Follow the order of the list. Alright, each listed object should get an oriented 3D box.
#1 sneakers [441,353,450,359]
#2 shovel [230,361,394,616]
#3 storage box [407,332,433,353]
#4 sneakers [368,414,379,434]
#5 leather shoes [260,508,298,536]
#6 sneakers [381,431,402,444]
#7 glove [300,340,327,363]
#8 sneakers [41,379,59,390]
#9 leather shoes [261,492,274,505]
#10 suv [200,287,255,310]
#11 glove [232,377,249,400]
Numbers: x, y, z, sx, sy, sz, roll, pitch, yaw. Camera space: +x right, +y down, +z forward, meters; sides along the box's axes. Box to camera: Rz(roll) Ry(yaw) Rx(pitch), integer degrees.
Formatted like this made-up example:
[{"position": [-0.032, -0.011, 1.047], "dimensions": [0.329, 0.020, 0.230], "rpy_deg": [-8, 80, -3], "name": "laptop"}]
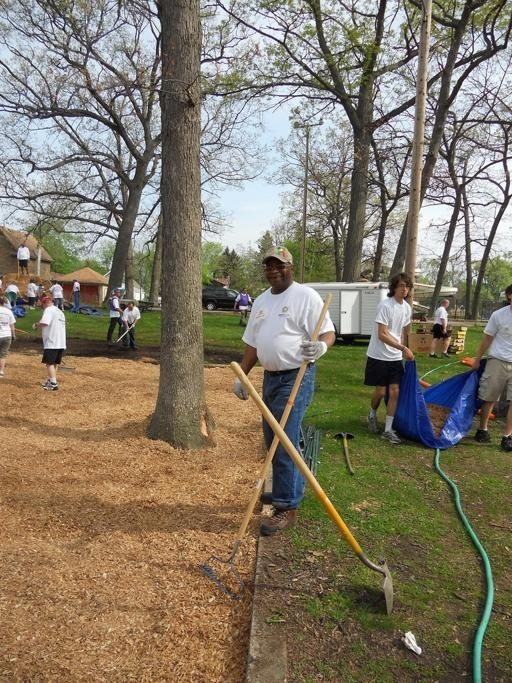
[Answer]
[{"position": [5.379, 0.408, 16.027], "dimensions": [0.137, 0.172, 0.410], "rpy_deg": [-7, -21, 29], "name": "sneakers"}, {"position": [0.425, 1.096, 4.206], "dimensions": [0.112, 0.365, 1.553], "rpy_deg": [-14, 45, -20], "name": "shovel"}, {"position": [4.284, 0.024, 14.665], "dimensions": [0.545, 0.507, 0.541], "rpy_deg": [1, 3, 5], "name": "storage box"}, {"position": [1.328, 0.937, 6.366], "dimensions": [0.082, 0.106, 0.244], "rpy_deg": [-1, 22, 2], "name": "sneakers"}, {"position": [0.152, 1.252, 3.887], "dimensions": [0.110, 0.118, 0.282], "rpy_deg": [0, -18, 29], "name": "leather shoes"}, {"position": [1.429, 1.021, 5.971], "dimensions": [0.084, 0.090, 0.209], "rpy_deg": [-1, 2, -40], "name": "sneakers"}, {"position": [0.343, 0.057, 3.483], "dimensions": [0.117, 0.077, 0.154], "rpy_deg": [5, -17, -25], "name": "glove"}, {"position": [-3.149, 0.667, 8.638], "dimensions": [0.242, 0.157, 0.337], "rpy_deg": [-3, 8, -22], "name": "sneakers"}, {"position": [0.087, 1.184, 4.315], "dimensions": [0.111, 0.077, 0.111], "rpy_deg": [0, 0, 1], "name": "leather shoes"}, {"position": [-2.162, -2.690, 34.914], "dimensions": [3.520, 1.468, 1.625], "rpy_deg": [0, 9, 1], "name": "suv"}, {"position": [-0.097, 0.333, 4.077], "dimensions": [0.076, 0.165, 0.123], "rpy_deg": [-38, -8, -34], "name": "glove"}]
